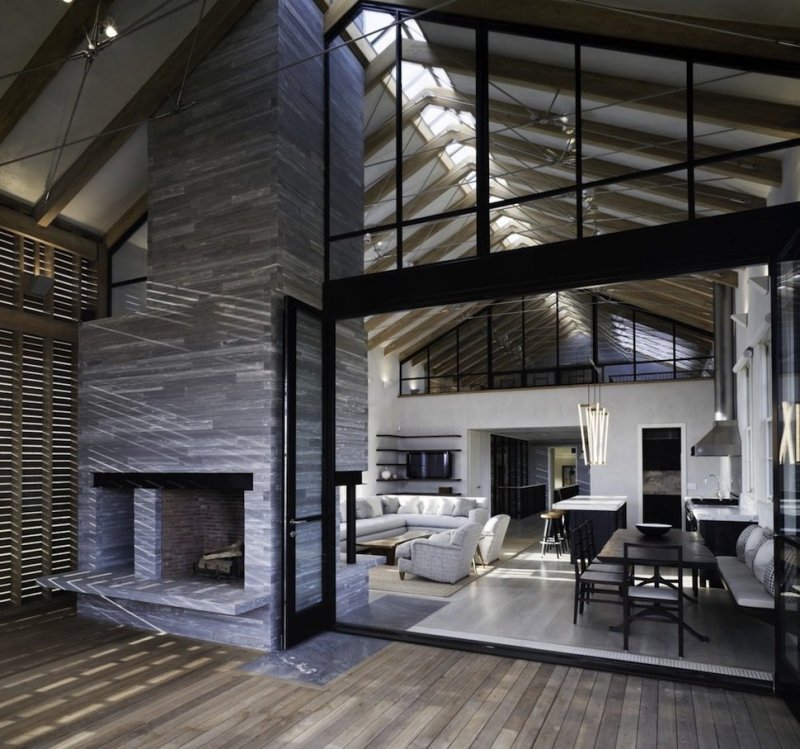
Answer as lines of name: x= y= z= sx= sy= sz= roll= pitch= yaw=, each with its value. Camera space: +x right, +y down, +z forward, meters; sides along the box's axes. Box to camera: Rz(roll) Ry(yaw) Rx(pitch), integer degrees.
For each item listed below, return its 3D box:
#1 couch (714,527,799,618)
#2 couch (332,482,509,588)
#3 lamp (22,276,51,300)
couch: x=2.858 y=1.662 z=6.395 sx=0.530 sy=0.433 sz=1.673 roll=-2 pitch=-3 yaw=21
couch: x=0.192 y=2.324 z=10.994 sx=2.201 sy=0.799 sz=2.252 roll=0 pitch=-2 yaw=22
lamp: x=-3.722 y=-0.893 z=7.938 sx=0.291 sy=0.221 sz=0.189 roll=8 pitch=8 yaw=0
